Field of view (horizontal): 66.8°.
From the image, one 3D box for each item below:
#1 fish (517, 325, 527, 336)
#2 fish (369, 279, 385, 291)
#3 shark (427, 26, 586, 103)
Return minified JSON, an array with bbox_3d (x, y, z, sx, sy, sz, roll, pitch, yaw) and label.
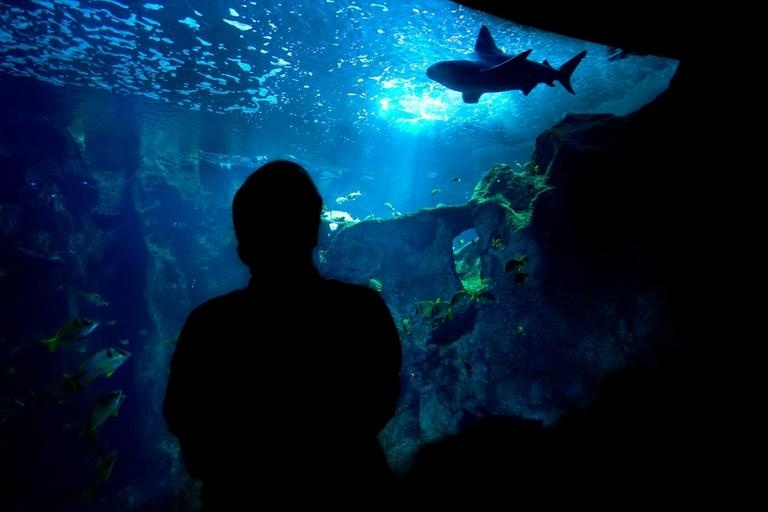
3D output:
[{"bbox_3d":[5.540,2.972,23.528,0.370,0.456,0.073,-17,-33,3],"label":"fish"},{"bbox_3d":[-0.361,1.317,27.500,0.602,0.444,1.098,18,-6,-8],"label":"fish"},{"bbox_3d":[3.808,-6.452,20.111,4.719,2.616,1.421,-11,-33,-5],"label":"shark"}]
